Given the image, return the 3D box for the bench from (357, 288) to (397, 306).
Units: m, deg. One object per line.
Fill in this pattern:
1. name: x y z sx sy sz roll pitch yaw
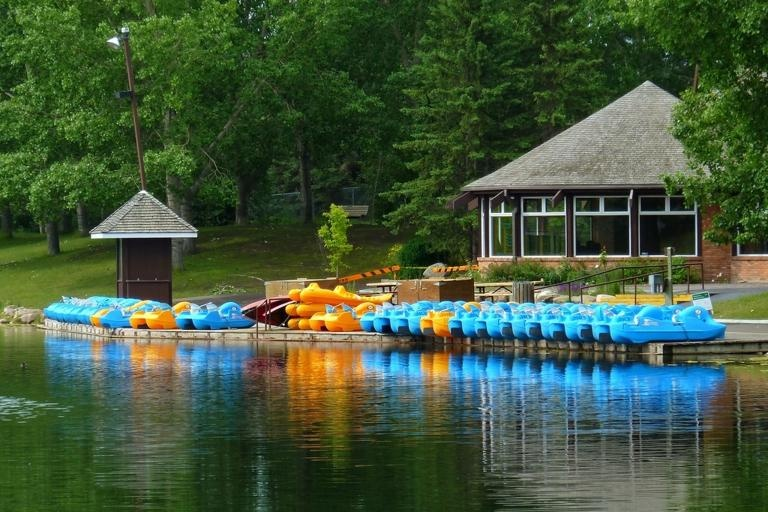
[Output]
1. bench: -0.425 1.927 81.105 1.473 0.384 0.705 2 3 43
